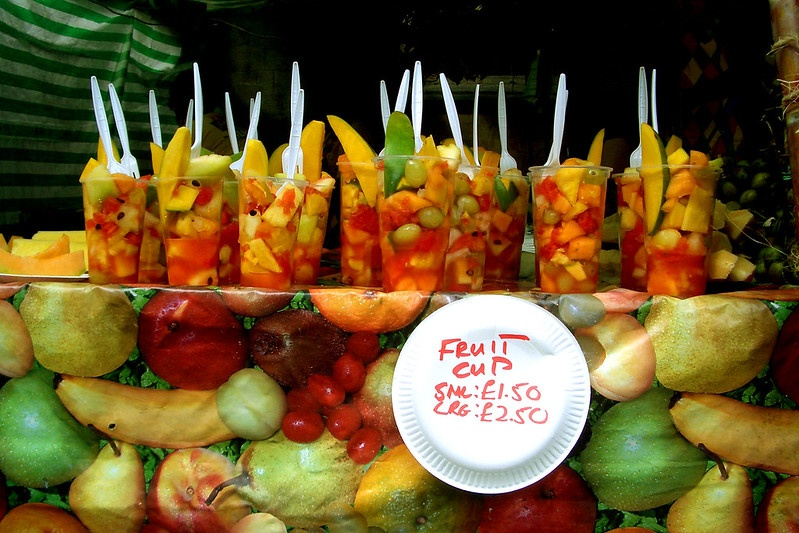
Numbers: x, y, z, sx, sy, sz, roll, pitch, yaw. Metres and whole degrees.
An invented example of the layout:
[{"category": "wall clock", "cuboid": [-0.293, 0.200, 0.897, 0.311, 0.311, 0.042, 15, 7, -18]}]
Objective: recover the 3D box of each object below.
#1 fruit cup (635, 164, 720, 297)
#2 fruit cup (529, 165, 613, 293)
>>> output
[{"category": "fruit cup", "cuboid": [0.798, -0.092, 1.940, 0.232, 0.366, 0.253, -1, 5, 0]}, {"category": "fruit cup", "cuboid": [0.467, -0.108, 1.859, 0.176, 0.389, 0.153, 1, 8, 10]}]
